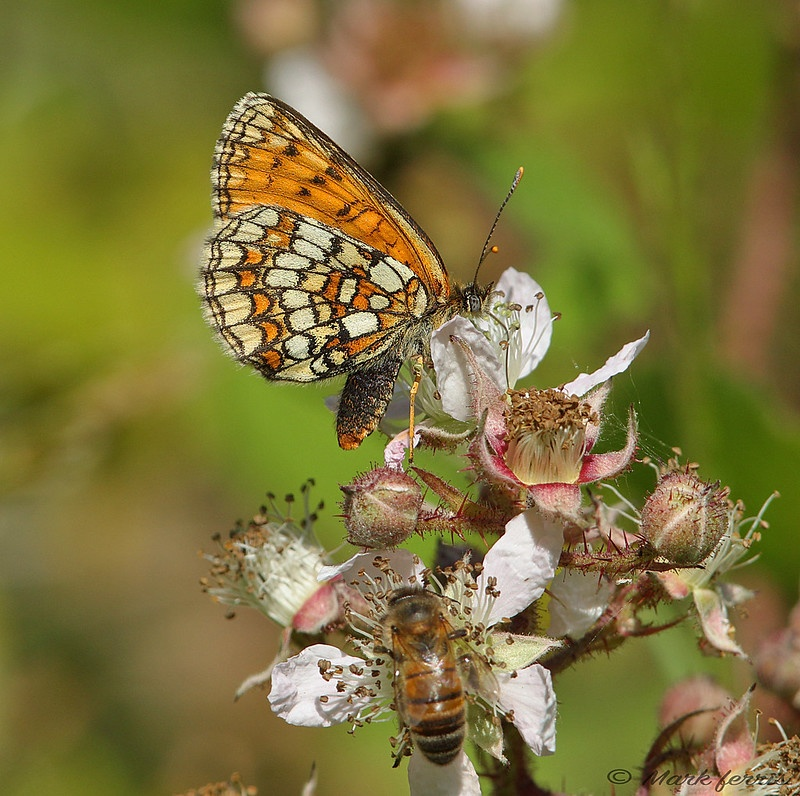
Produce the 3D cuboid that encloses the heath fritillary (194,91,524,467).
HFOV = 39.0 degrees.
[{"bbox_3d":[-0.060,-0.484,4.482,1.181,1.509,1.408,0,4,1],"label":"heath fritillary"}]

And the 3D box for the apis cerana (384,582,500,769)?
[{"bbox_3d":[0.057,0.743,3.122,0.287,0.459,0.420,0,14,-4],"label":"apis cerana"}]

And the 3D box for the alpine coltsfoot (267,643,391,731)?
[{"bbox_3d":[-0.213,0.840,3.259,0.329,0.199,0.117,3,-11,-11],"label":"alpine coltsfoot"}]
